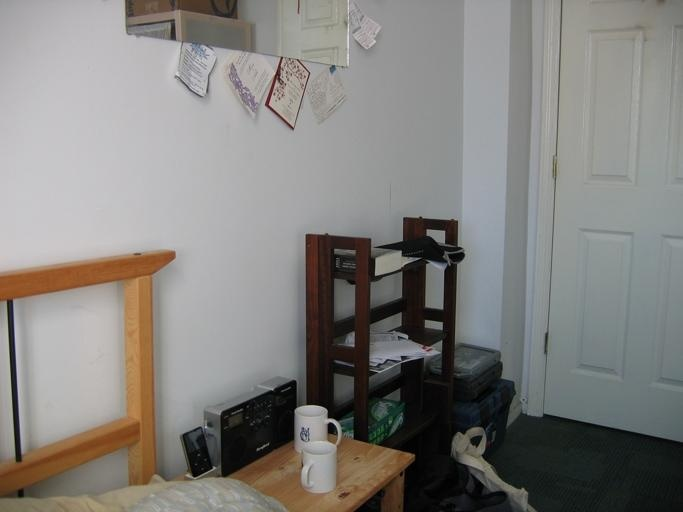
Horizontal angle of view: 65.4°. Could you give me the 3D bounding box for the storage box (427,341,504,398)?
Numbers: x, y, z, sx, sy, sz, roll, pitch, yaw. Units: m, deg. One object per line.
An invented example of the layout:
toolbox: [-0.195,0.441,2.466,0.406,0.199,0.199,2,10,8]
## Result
storage box: [0.641,0.544,2.596,0.229,0.110,0.299,6,11,35]

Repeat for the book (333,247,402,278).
book: [0.107,0.015,1.892,0.250,0.096,0.281,-1,9,7]

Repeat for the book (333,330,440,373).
book: [0.230,0.344,2.035,0.243,0.050,0.429,-2,9,4]

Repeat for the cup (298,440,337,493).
cup: [-0.060,0.585,1.503,0.074,0.100,0.127,4,15,18]

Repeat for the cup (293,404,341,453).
cup: [-0.088,0.508,1.632,0.154,0.147,0.097,5,5,28]
